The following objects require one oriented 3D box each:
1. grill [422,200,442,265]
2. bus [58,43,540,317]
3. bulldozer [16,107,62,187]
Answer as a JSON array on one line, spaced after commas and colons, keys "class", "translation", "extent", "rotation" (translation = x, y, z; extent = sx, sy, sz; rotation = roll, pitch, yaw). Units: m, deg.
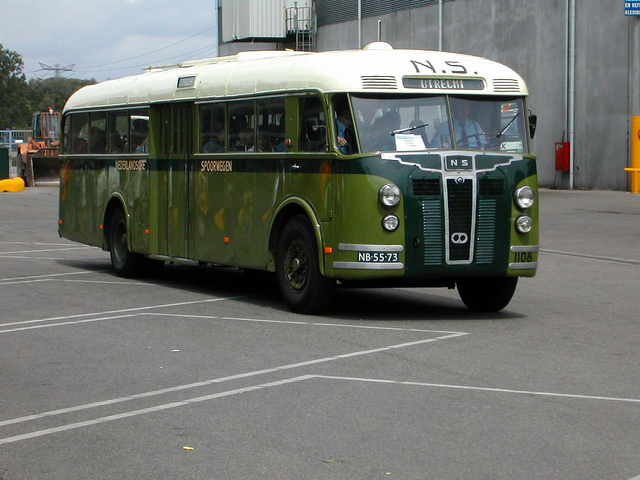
[{"class": "grill", "translation": [1.443, -0.085, 9.652], "extent": [0.250, 0.884, 0.087], "rotation": [1, 15, 12]}, {"class": "bus", "translation": [-1.491, -1.077, 13.500], "extent": [8.405, 4.119, 3.099], "rotation": [5, 2, 43]}, {"class": "bulldozer", "translation": [-17.614, -5.714, 49.262], "extent": [3.222, 4.581, 6.143], "rotation": [3, 14, -33]}]
